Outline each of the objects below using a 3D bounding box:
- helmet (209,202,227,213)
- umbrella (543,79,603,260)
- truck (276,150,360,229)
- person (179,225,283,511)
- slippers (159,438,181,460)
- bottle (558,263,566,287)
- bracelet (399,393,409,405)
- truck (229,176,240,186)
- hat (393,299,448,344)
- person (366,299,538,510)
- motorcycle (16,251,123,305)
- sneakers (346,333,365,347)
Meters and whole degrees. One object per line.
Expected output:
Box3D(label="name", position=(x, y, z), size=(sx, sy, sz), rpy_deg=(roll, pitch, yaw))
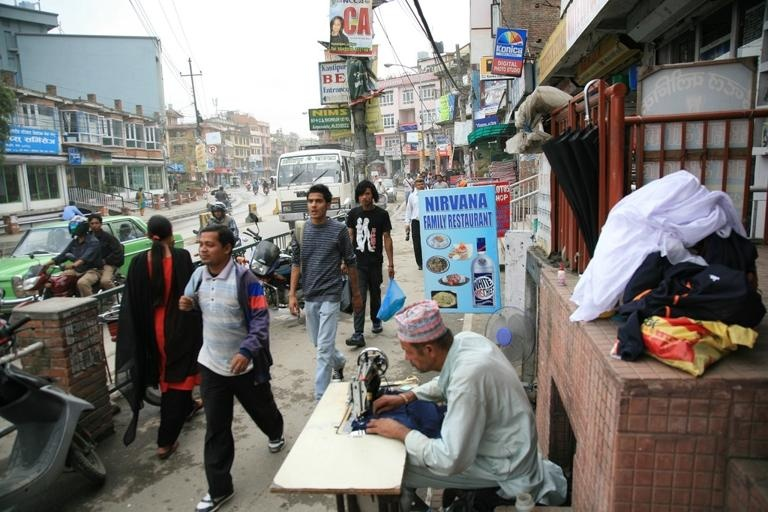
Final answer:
Box3D(label="helmet", position=(-3.225, -1.079, 10.868), size=(0.309, 0.304, 0.391), rpy_deg=(-1, 1, -7))
Box3D(label="umbrella", position=(1.519, -0.741, 4.594), size=(0.392, 1.437, 0.803), rpy_deg=(-2, 9, 16))
Box3D(label="truck", position=(-2.386, -2.833, 19.421), size=(2.209, 2.650, 4.240), rpy_deg=(0, 8, 5))
Box3D(label="person", position=(-1.322, 1.094, 4.868), size=(0.756, 2.136, 0.760), rpy_deg=(-7, 9, -13))
Box3D(label="slippers", position=(-2.059, 1.944, 5.372), size=(0.086, 0.116, 0.263), rpy_deg=(2, 11, 7))
Box3D(label="bottle", position=(1.462, 0.119, 4.610), size=(0.061, 0.180, 0.238), rpy_deg=(-2, 10, 18))
Box3D(label="bracelet", position=(0.154, 1.104, 4.135), size=(0.038, 0.066, 0.058), rpy_deg=(-6, 12, -41))
Box3D(label="truck", position=(-21.117, -12.002, 79.743), size=(1.361, 1.648, 2.551), rpy_deg=(-2, 9, -16))
Box3D(label="hat", position=(0.249, 0.464, 3.877), size=(0.297, 0.200, 0.309), rpy_deg=(-18, 4, 0))
Box3D(label="person", position=(0.645, 0.966, 4.444), size=(1.332, 1.980, 1.172), rpy_deg=(-3, 6, 16))
Box3D(label="motorcycle", position=(-5.265, 0.301, 9.354), size=(0.689, 0.813, 1.338), rpy_deg=(0, 2, 45))
Box3D(label="sneakers", position=(-0.375, 1.164, 7.526), size=(0.304, 0.133, 0.139), rpy_deg=(4, 2, -35))
